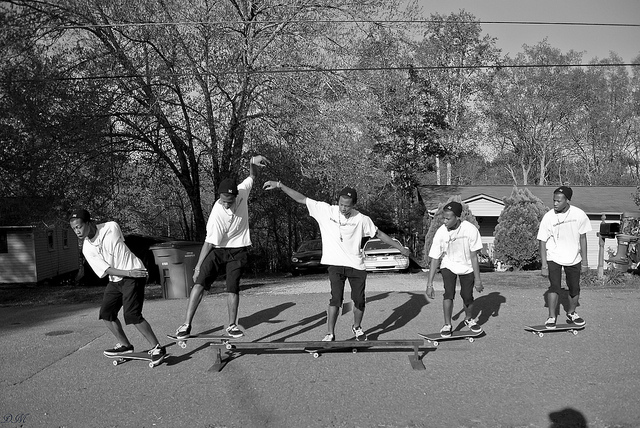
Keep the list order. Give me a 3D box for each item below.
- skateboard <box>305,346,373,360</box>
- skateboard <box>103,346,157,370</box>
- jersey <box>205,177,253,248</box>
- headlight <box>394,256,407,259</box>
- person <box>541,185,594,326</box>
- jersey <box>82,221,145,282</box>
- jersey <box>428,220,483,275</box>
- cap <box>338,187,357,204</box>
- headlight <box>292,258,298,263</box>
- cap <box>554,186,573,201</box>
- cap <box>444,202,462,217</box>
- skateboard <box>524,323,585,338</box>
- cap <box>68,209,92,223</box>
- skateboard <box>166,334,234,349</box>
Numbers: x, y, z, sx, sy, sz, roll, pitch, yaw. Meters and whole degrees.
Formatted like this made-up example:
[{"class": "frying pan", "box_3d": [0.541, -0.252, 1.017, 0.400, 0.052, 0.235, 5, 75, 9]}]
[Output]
[{"class": "skateboard", "box_3d": [0.366, 2.845, 12.422, 1.320, 0.193, 0.450, -3, -1, -2]}, {"class": "skateboard", "box_3d": [-3.655, 2.878, 12.160, 1.598, 0.265, 0.446, 5, 12, 3]}, {"class": "jersey", "box_3d": [-1.839, 0.015, 12.635, 0.531, 1.398, 1.219, 0, 3, 39]}, {"class": "headlight", "box_3d": [3.026, 1.644, 22.505, 0.421, 0.085, 0.194, -2, 1, 26]}, {"class": "person", "box_3d": [5.332, 0.919, 13.018, 0.998, 3.041, 0.392, -3, 3, -3]}, {"class": "jersey", "box_3d": [-4.157, 0.705, 11.854, 1.044, 1.061, 0.333, -3, 3, -22]}, {"class": "jersey", "box_3d": [2.911, 0.742, 12.776, 1.061, 1.160, 0.673, 0, 8, 17]}, {"class": "cap", "box_3d": [0.575, -0.399, 12.222, 0.333, 0.219, 0.251, 25, -4, -23]}, {"class": "headlight", "box_3d": [-1.068, 1.949, 25.244, 0.267, 0.132, 0.073, -2, 3, 31]}, {"class": "cap", "box_3d": [5.339, -0.489, 13.048, 0.320, 0.250, 0.260, 22, -18, -13]}, {"class": "cap", "box_3d": [2.783, -0.088, 12.407, 0.316, 0.172, 0.242, 11, 0, -44]}, {"class": "skateboard", "box_3d": [5.113, 2.488, 13.020, 1.175, 0.186, 0.429, -3, 1, -2]}, {"class": "cap", "box_3d": [-4.753, 0.043, 11.830, 0.337, 0.266, 0.524, -3, 2, -22]}, {"class": "skateboard", "box_3d": [-2.477, 2.675, 12.450, 1.296, 0.243, 0.348, 1, 1, -1]}]
